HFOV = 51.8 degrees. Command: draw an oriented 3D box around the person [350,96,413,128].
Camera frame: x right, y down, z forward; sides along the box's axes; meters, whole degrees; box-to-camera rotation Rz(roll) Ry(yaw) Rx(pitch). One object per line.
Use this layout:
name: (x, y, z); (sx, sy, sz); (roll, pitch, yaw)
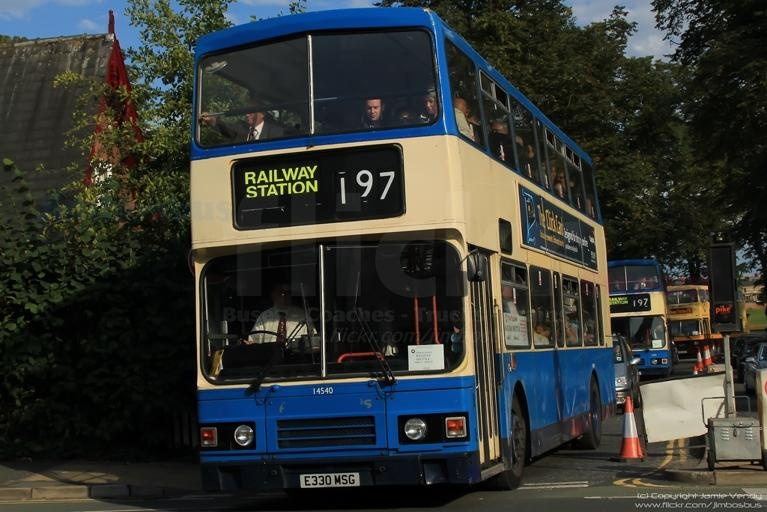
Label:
person: (0.045, -2.071, 11.376); (0.781, 0.485, 0.136); (-3, -2, 3)

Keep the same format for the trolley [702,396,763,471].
trolley: (5.918, 2.970, 13.313); (0.931, 0.896, 0.807); (2, 9, 23)

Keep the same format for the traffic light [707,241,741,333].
traffic light: (5.838, 0.572, 13.560); (0.461, 1.173, 0.874); (-4, -2, 23)

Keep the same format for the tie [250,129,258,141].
tie: (-1.916, -1.792, 11.742); (0.103, 0.152, 0.043); (6, -17, 12)

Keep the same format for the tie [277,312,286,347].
tie: (-1.450, 1.045, 11.350); (0.153, 0.451, 0.062); (-3, -2, 1)
